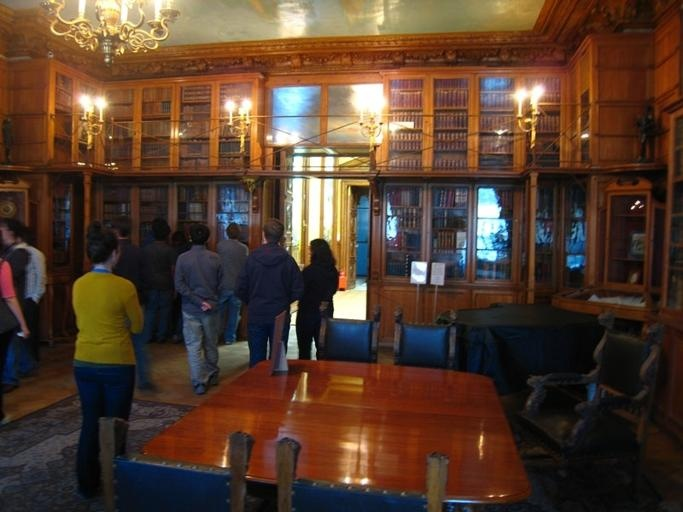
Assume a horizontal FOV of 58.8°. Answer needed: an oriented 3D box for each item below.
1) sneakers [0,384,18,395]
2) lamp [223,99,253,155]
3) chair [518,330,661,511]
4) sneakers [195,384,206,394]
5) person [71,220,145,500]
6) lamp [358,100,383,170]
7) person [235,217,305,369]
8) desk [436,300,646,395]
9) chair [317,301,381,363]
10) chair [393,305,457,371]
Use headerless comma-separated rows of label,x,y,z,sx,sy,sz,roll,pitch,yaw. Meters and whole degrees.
sneakers,-3.722,1.487,6.796,0.061,0.124,0.181,10,10,25
lamp,-1.508,-1.925,9.093,0.352,0.652,0.188,-2,3,-22
chair,2.058,1.270,5.117,0.980,1.404,0.668,-1,5,-9
sneakers,-1.577,1.492,6.797,0.116,0.094,0.092,-5,-1,20
person,-1.893,0.891,4.873,0.576,2.203,0.299,-2,6,-14
lamp,0.358,-1.441,7.441,0.335,0.690,0.311,4,-6,-42
person,-0.737,0.382,6.261,0.674,1.500,0.246,-1,5,-10
desk,1.916,0.910,6.321,1.355,0.488,1.007,1,1,22
chair,0.079,0.713,5.682,0.513,0.850,0.486,2,-13,15
chair,0.756,0.760,5.561,0.486,0.621,0.433,2,3,13
